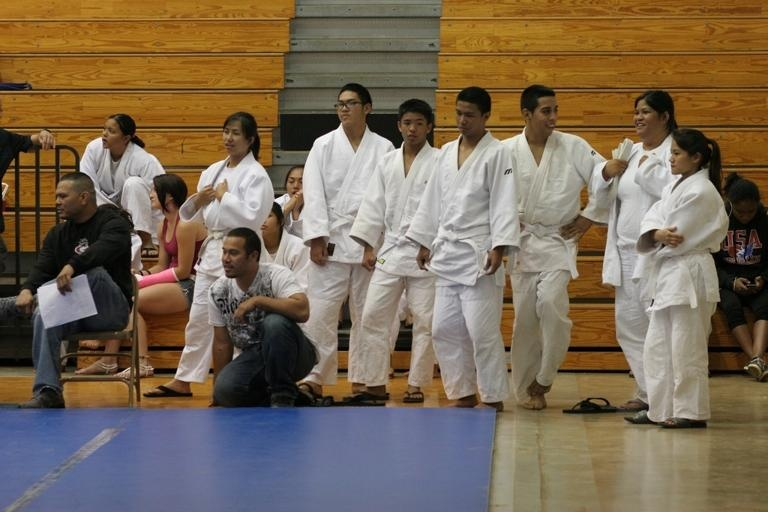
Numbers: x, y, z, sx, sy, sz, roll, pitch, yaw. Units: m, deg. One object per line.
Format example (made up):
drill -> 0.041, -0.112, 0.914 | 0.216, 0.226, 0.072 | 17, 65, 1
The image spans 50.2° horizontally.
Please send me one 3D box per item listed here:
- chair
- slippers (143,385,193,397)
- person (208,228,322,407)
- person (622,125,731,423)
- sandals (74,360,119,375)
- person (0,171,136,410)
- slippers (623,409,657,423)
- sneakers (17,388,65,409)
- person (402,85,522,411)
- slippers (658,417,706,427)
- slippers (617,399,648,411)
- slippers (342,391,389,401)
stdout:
chair -> -1.830, 0.456, 5.153 | 0.633, 0.830, 0.612 | -3, 18, -25
slippers -> -1.420, 0.899, 5.405 | 0.305, 0.069, 0.106 | 3, -7, -10
person -> -0.719, 0.362, 4.940 | 0.651, 1.074, 0.296 | 0, 0, -8
person -> 1.641, 0.106, 4.606 | 0.532, 1.665, 0.274 | 0, 0, 20
sandals -> -2.066, 0.797, 5.908 | 0.289, 0.097, 0.099 | 3, -3, -13
person -> -1.870, 0.181, 5.051 | 0.678, 1.435, 0.400 | 0, 0, -33
slippers -> 1.452, 0.911, 4.646 | 0.172, 0.064, 0.059 | 2, -8, 8
sneakers -> -1.989, 0.838, 4.849 | 0.319, 0.129, 0.104 | 4, -2, -15
person -> 0.505, -0.059, 4.963 | 0.662, 1.942, 0.274 | 0, 0, 37
slippers -> 1.639, 0.918, 4.495 | 0.221, 0.048, 0.081 | 2, -4, -4
slippers -> 1.515, 0.901, 4.964 | 0.207, 0.069, 0.064 | 1, -5, 3
slippers -> -0.115, 0.874, 5.228 | 0.266, 0.060, 0.097 | 1, -4, -10
